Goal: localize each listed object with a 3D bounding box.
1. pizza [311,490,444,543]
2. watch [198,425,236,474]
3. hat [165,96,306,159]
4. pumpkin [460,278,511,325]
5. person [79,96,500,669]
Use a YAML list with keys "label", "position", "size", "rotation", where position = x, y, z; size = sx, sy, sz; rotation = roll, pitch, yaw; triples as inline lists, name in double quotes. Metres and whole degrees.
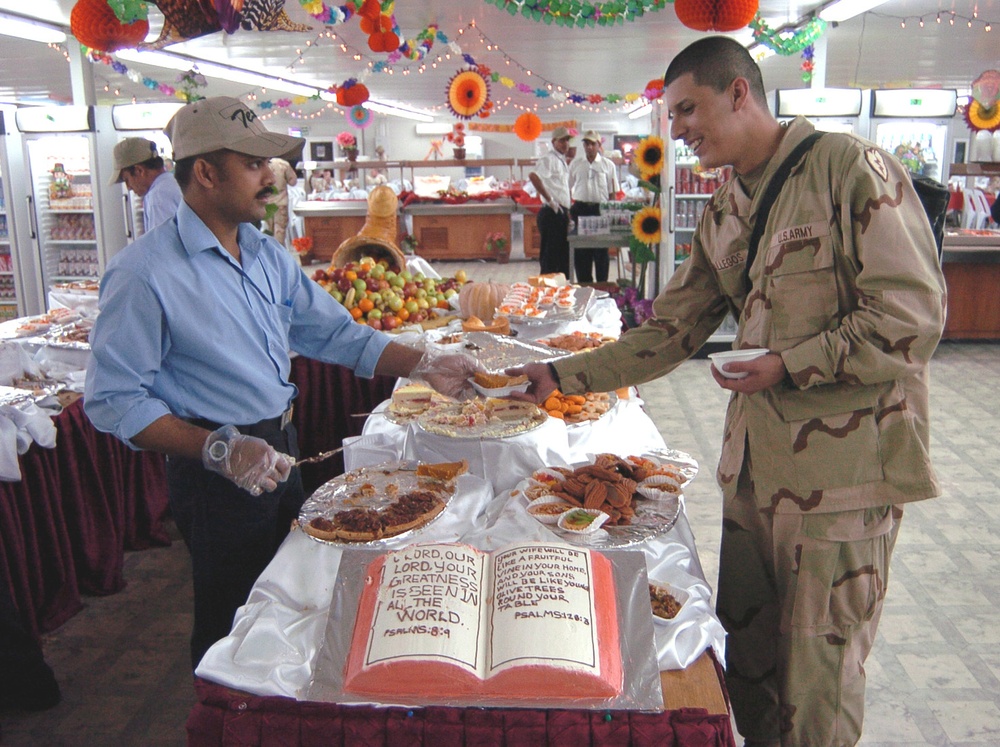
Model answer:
- label: "pizza"
  position: [-0.305, 0.379, 1.934]
  size: [0.367, 0.049, 0.196]
  rotation: [-6, 16, -22]
- label: "watch"
  position: [-0.698, 0.192, 1.882]
  size: [0.084, 0.118, 0.041]
  rotation: [5, -8, 27]
- label: "hat"
  position: [-0.757, -0.668, 2.145]
  size: [0.299, 0.146, 0.190]
  rotation: [-7, 17, -1]
- label: "pumpkin"
  position: [-0.097, -0.364, 3.825]
  size: [0.221, 0.168, 0.232]
  rotation: [1, 6, -3]
- label: "person"
  position: [-0.720, 0.084, 2.247]
  size: [0.612, 1.736, 0.852]
  rotation: [9, 17, 30]
